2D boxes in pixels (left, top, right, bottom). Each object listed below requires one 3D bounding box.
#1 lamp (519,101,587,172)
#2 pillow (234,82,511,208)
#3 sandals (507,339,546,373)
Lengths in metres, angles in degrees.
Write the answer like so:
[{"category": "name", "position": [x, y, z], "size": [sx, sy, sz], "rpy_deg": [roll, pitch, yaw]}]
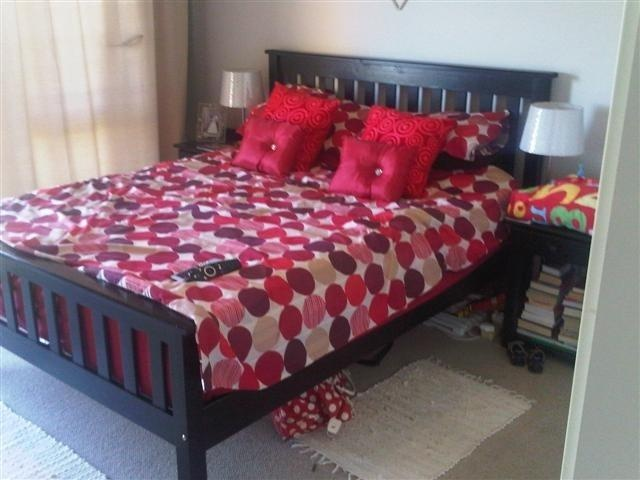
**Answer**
[{"category": "lamp", "position": [1.067, -0.500, 2.302], "size": [0.298, 0.212, 0.305], "rpy_deg": [2, 12, 13]}, {"category": "pillow", "position": [0.217, -0.597, 2.643], "size": [1.176, 0.368, 0.657], "rpy_deg": [12, 24, 27]}, {"category": "sandals", "position": [0.910, 0.512, 2.230], "size": [0.098, 0.050, 0.143], "rpy_deg": [14, 30, 16]}]
